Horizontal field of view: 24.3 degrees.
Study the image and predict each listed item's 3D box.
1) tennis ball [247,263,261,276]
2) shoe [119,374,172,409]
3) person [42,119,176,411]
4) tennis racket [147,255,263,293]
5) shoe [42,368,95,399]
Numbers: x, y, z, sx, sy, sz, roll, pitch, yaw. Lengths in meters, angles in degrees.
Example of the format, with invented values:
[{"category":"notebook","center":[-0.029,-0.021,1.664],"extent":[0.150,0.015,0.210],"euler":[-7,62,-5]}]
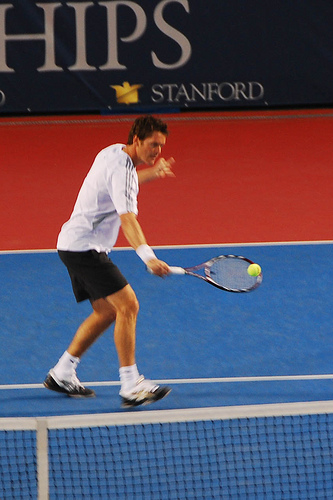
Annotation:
[{"category":"tennis ball","center":[0.486,0.077,4.326],"extent":[0.072,0.066,0.080],"euler":[12,32,4]},{"category":"shoe","center":[-0.108,0.754,3.972],"extent":[0.344,0.159,0.115],"euler":[-18,-21,40]},{"category":"person","center":[-0.321,0.032,4.240],"extent":[0.698,1.689,1.007],"euler":[-1,11,1]},{"category":"tennis racket","center":[0.198,0.060,4.335],"extent":[0.665,0.045,0.240],"euler":[-1,43,-7]},{"category":"shoe","center":[-0.537,0.770,4.270],"extent":[0.348,0.158,0.118],"euler":[20,-6,-20]}]
